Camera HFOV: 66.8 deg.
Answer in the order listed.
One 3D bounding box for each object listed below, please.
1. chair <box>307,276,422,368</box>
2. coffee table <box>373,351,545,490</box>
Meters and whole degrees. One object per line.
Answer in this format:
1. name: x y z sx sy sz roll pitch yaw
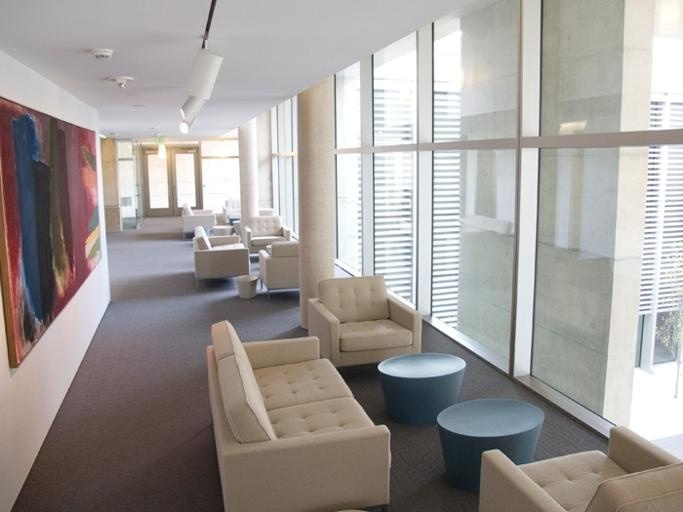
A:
1. chair: 0.241 0.805 6.207 1.168 0.985 1.251 -4 7 -23
2. coffee table: 0.954 1.378 4.599 0.675 0.418 1.518 -2 4 -16
